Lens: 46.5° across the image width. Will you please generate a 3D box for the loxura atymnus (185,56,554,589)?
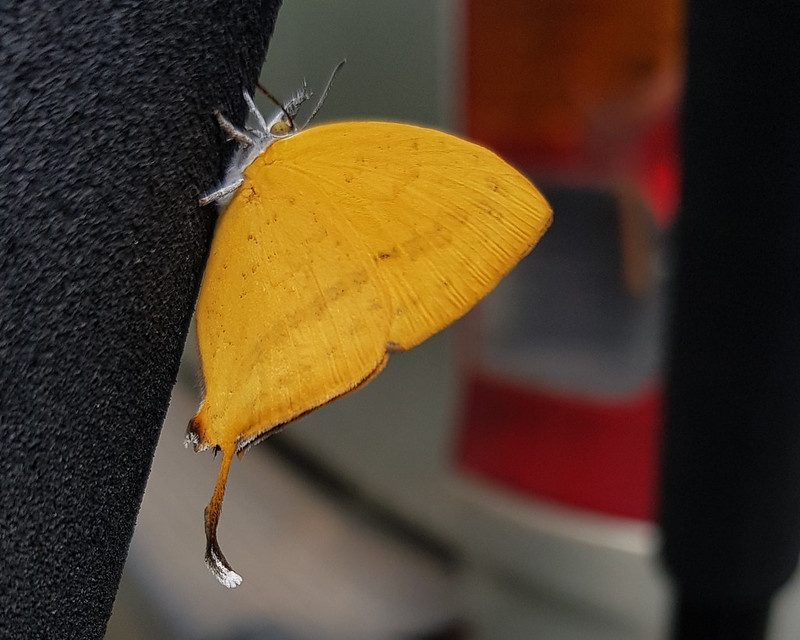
[{"bbox_3d":[-0.063,-0.017,0.579,0.122,0.252,0.268,14,95,22],"label":"loxura atymnus"}]
